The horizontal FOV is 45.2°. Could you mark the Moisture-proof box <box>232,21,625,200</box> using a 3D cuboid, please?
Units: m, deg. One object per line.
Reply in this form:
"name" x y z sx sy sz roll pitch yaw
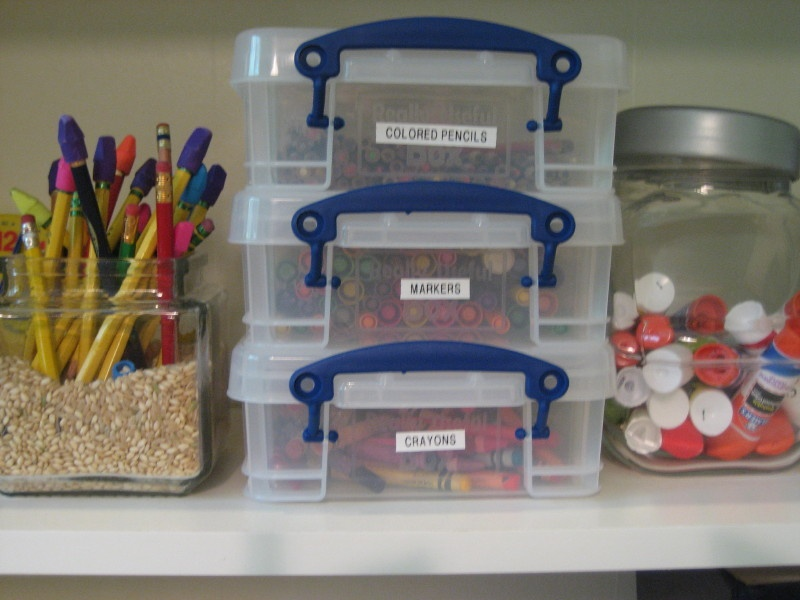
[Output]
"Moisture-proof box" 0.045 -0.236 1.181 0.317 0.141 0.258 1 6 -1
